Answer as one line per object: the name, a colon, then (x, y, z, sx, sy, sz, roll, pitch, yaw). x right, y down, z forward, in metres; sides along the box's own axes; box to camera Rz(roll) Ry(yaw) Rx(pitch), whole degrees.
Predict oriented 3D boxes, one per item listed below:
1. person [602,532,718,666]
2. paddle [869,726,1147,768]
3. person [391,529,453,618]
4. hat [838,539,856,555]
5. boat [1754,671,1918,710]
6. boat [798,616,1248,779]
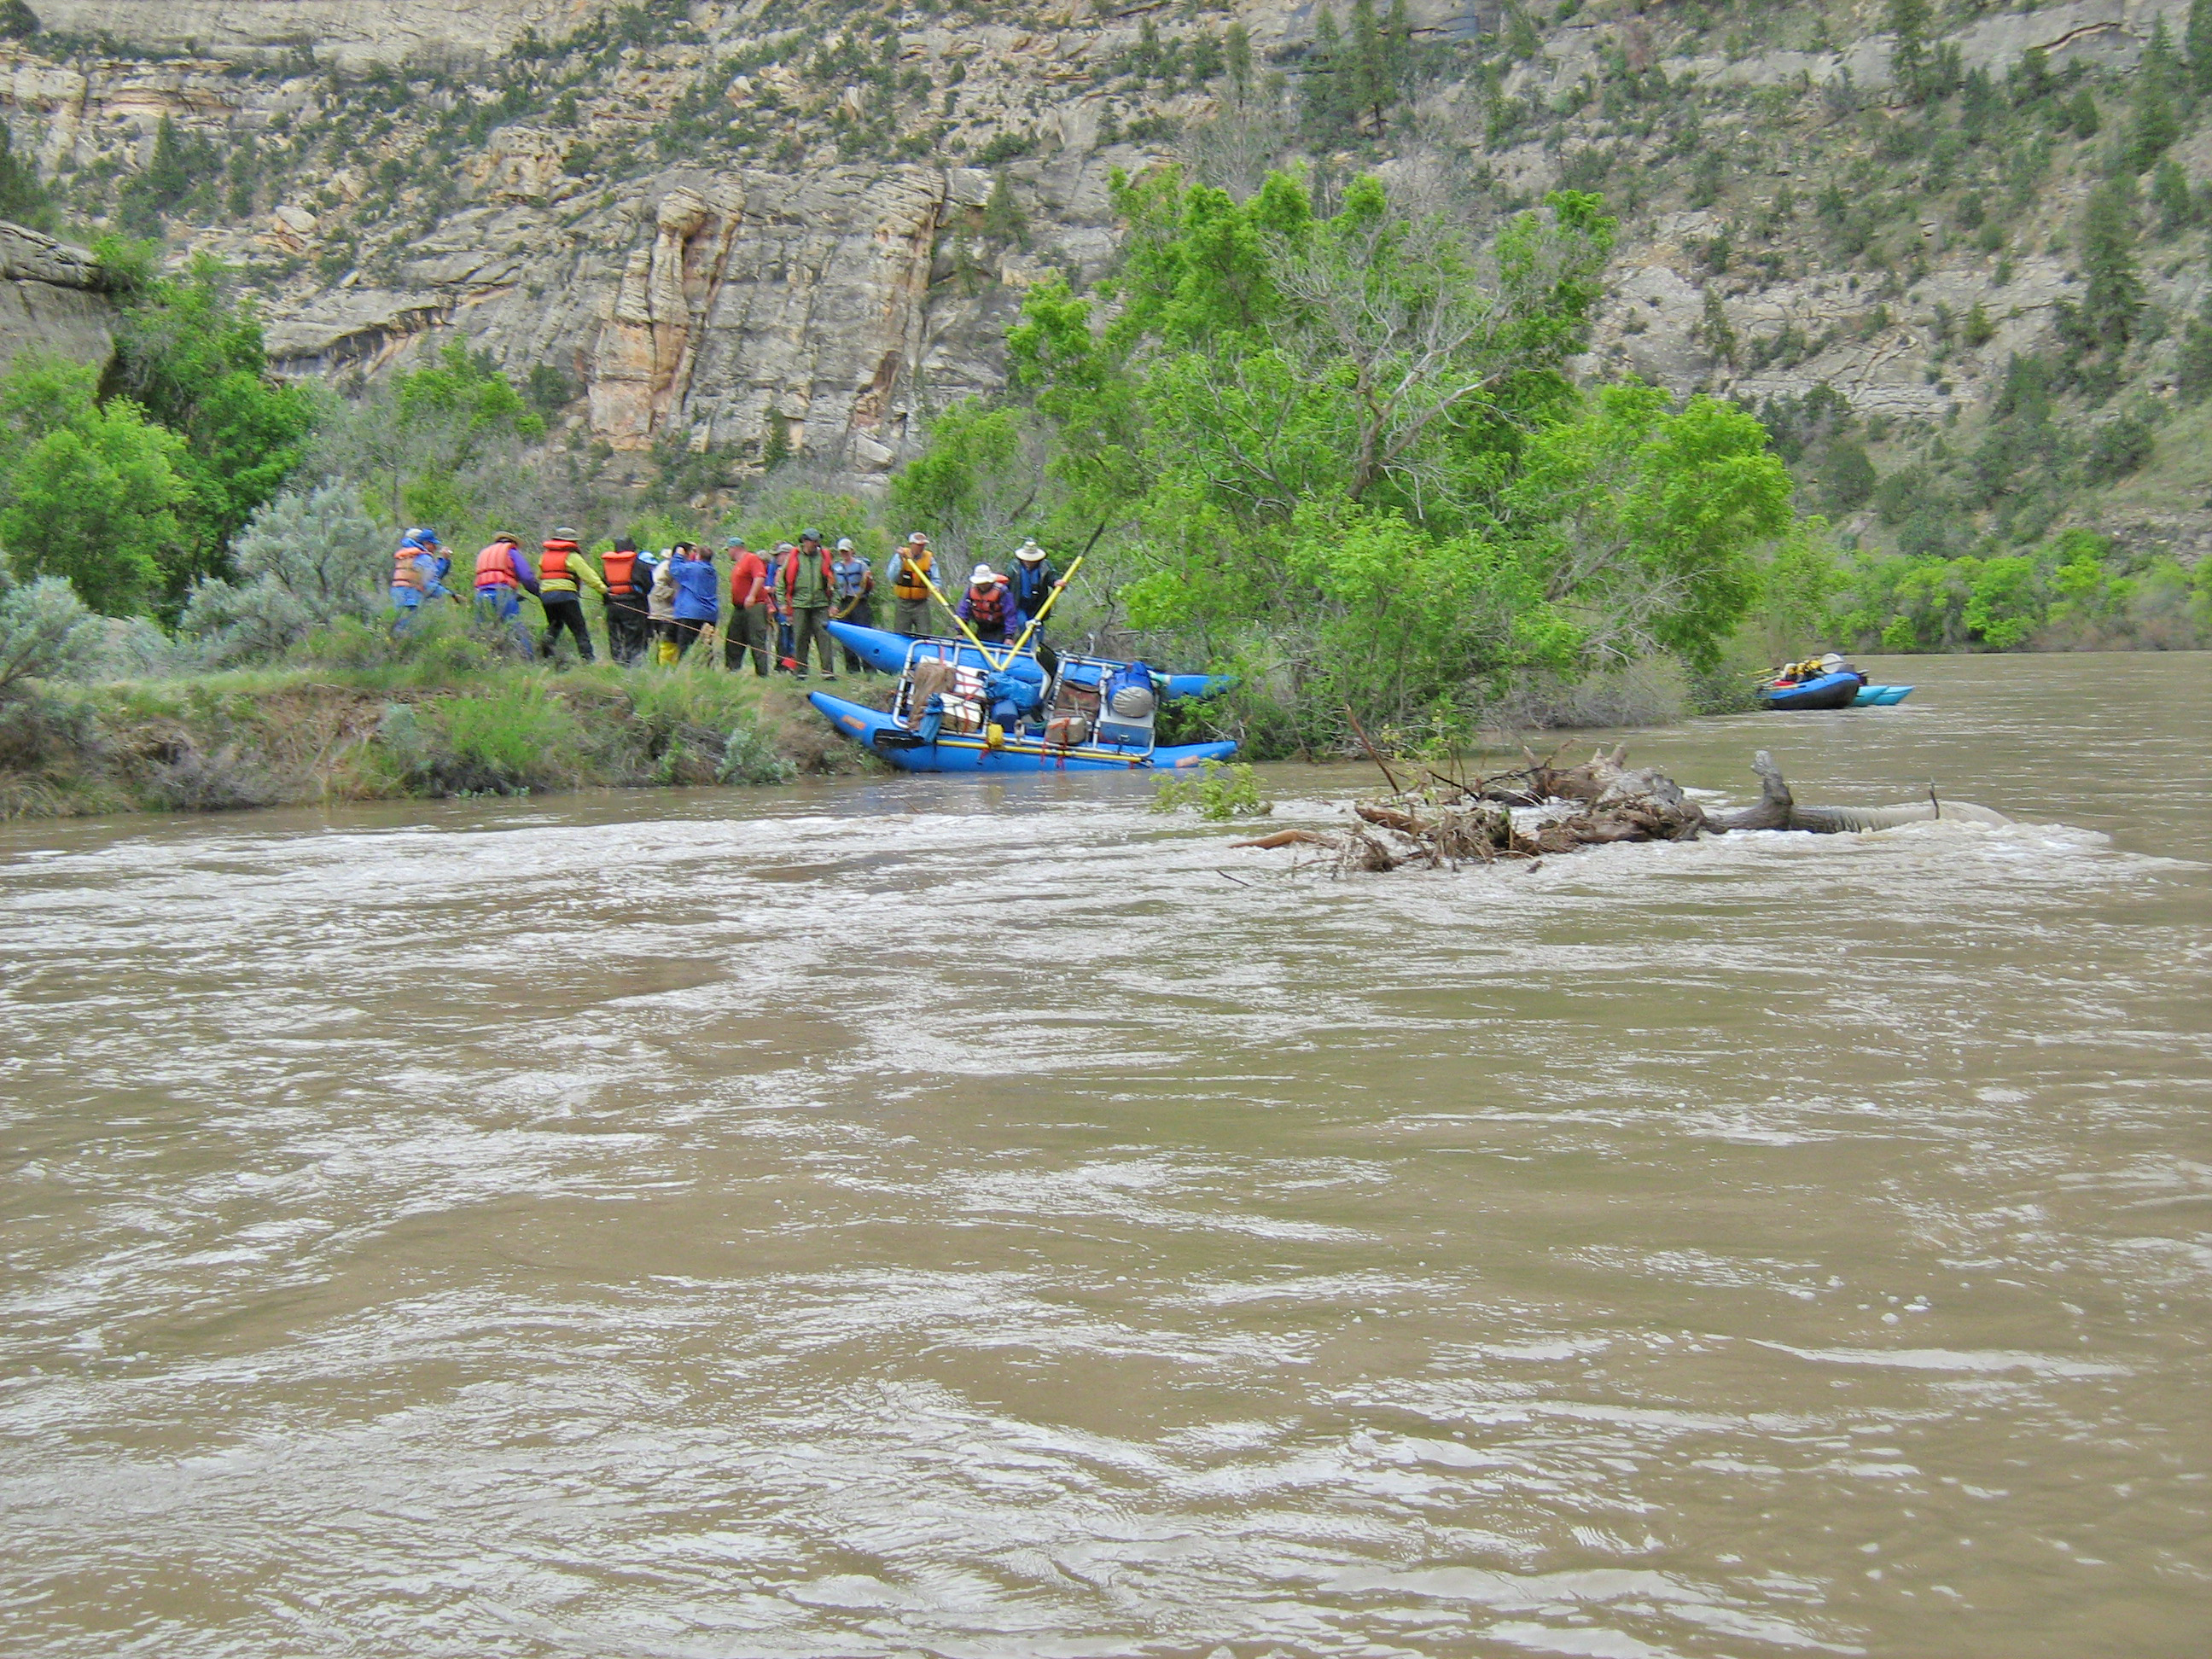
person: (-5.282, -2.710, 31.577, 0.902, 1.351, 1.604, 3, 3, 28)
paddle: (-1.169, -0.905, 30.441, 3.040, 0.455, 0.589, 1, 3, -5)
person: (-7.394, -2.817, 28.785, 0.552, 0.960, 0.893, 1, 3, -15)
hat: (-3.224, -3.576, 33.157, 0.288, 0.174, 0.389, -4, 2, -3)
boat: (11.542, -2.182, 41.732, 1.290, 0.593, 2.659, 1, 2, -12)
boat: (-0.973, -1.366, 30.479, 4.555, 0.839, 1.916, 5, 35, -4)
